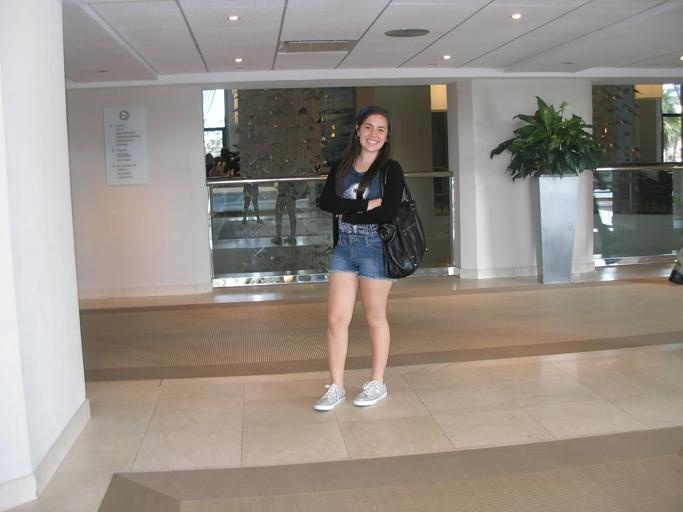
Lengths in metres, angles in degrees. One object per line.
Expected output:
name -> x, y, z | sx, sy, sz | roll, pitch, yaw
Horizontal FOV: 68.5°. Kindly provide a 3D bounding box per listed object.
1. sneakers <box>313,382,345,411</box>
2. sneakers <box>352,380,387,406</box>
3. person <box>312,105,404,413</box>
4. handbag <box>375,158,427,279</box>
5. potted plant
sneakers -> -0.072, 0.950, 3.354 | 0.096, 0.120, 0.283 | -4, -10, 21
sneakers -> 0.199, 0.926, 3.390 | 0.102, 0.111, 0.280 | -5, -7, 33
person -> 0.120, -0.001, 3.334 | 0.664, 1.962, 0.400 | -4, 6, 1
handbag -> 0.409, -0.171, 3.257 | 0.225, 0.628, 0.348 | 0, 7, 33
potted plant -> 3.051, -0.969, 7.387 | 1.335, 2.648, 0.929 | -2, 6, 16
